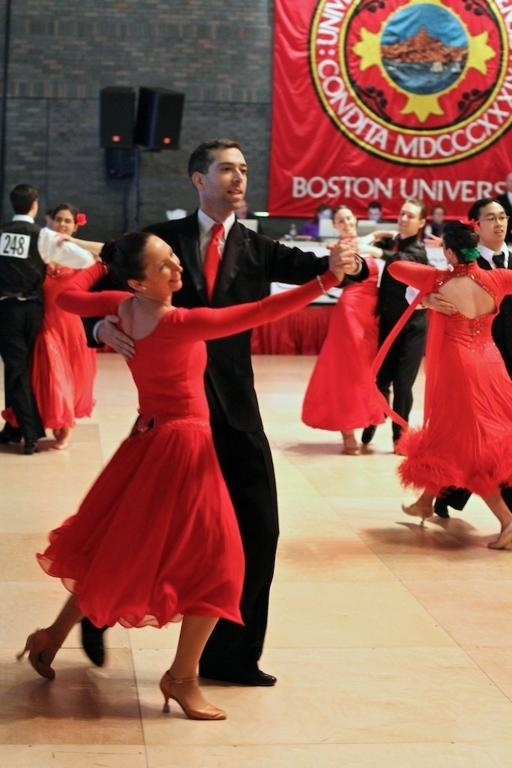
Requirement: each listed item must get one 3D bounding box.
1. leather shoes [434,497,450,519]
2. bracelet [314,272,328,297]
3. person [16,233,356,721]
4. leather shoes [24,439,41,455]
[{"bbox_3d":[0.924,0.614,3.477,0.067,0.125,0.191,5,-9,8],"label":"leather shoes"},{"bbox_3d":[0.137,-0.203,1.429,0.018,0.041,0.033,-23,13,-13],"label":"bracelet"},{"bbox_3d":[-0.210,0.212,1.559,0.639,1.071,0.427,10,12,41],"label":"person"},{"bbox_3d":[-1.505,0.419,4.759,0.070,0.064,0.179,2,6,-3],"label":"leather shoes"}]
